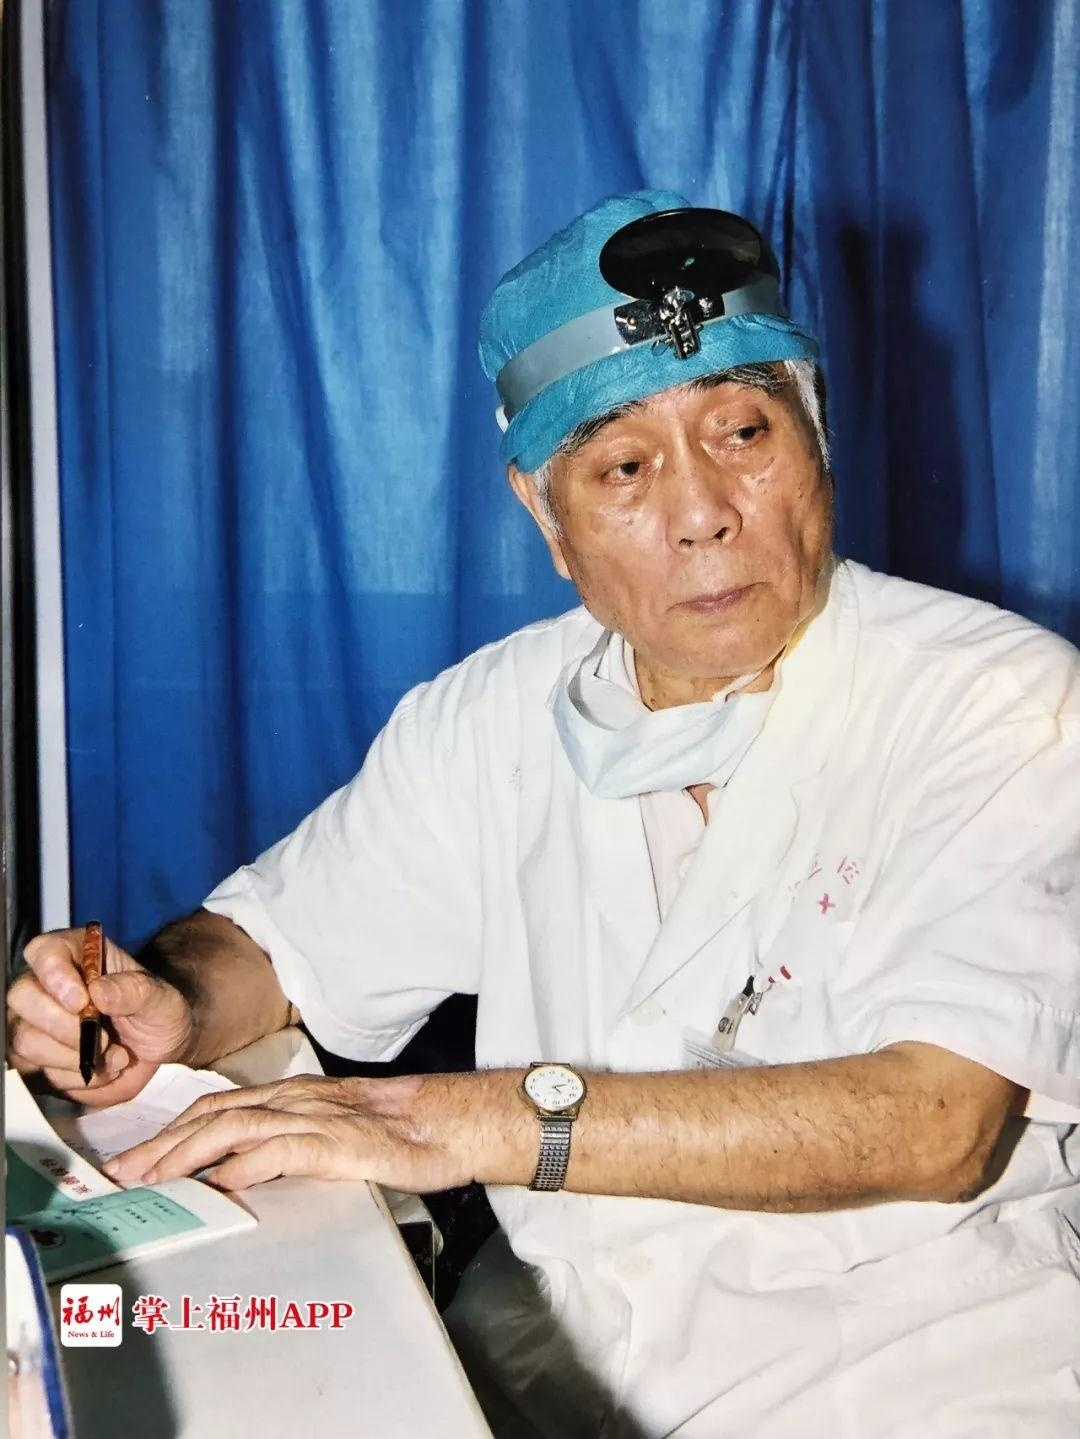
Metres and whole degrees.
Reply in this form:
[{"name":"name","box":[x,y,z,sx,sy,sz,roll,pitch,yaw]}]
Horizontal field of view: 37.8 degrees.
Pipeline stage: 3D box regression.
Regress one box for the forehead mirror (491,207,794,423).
[{"name":"forehead mirror","box":[0.078,-0.369,1.377,0.193,0.095,0.195,-23,1,-31]}]

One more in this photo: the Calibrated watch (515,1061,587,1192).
[{"name":"Calibrated watch","box":[0.013,0.278,1.089,0.054,0.073,0.080,2,45,3]}]
